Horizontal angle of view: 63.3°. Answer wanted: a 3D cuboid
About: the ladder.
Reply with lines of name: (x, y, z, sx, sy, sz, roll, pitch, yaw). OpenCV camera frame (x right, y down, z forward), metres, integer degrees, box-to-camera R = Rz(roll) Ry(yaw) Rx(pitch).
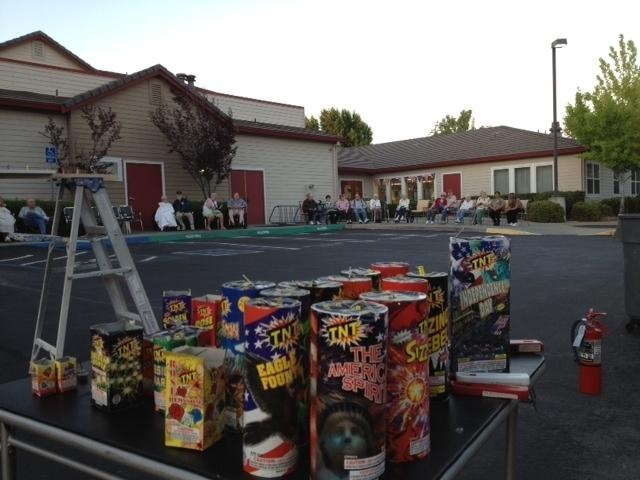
ladder: (-1.475, 0.124, 3.344, 0.573, 1.100, 0.925, 0, 2, 28)

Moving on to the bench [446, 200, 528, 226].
bench: (7.714, -1.301, 22.331, 2.178, 1.329, 2.928, -1, 2, -14)

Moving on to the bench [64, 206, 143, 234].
bench: (-2.419, -0.190, 5.749, 0.306, 0.493, 0.954, 2, 4, 31)

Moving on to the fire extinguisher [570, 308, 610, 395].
fire extinguisher: (1.853, 0.765, 3.591, 0.301, 0.714, 0.397, 0, 1, 17)

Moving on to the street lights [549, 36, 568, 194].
street lights: (10.875, -4.517, 23.599, 0.344, 8.502, 0.400, 4, 4, 24)
